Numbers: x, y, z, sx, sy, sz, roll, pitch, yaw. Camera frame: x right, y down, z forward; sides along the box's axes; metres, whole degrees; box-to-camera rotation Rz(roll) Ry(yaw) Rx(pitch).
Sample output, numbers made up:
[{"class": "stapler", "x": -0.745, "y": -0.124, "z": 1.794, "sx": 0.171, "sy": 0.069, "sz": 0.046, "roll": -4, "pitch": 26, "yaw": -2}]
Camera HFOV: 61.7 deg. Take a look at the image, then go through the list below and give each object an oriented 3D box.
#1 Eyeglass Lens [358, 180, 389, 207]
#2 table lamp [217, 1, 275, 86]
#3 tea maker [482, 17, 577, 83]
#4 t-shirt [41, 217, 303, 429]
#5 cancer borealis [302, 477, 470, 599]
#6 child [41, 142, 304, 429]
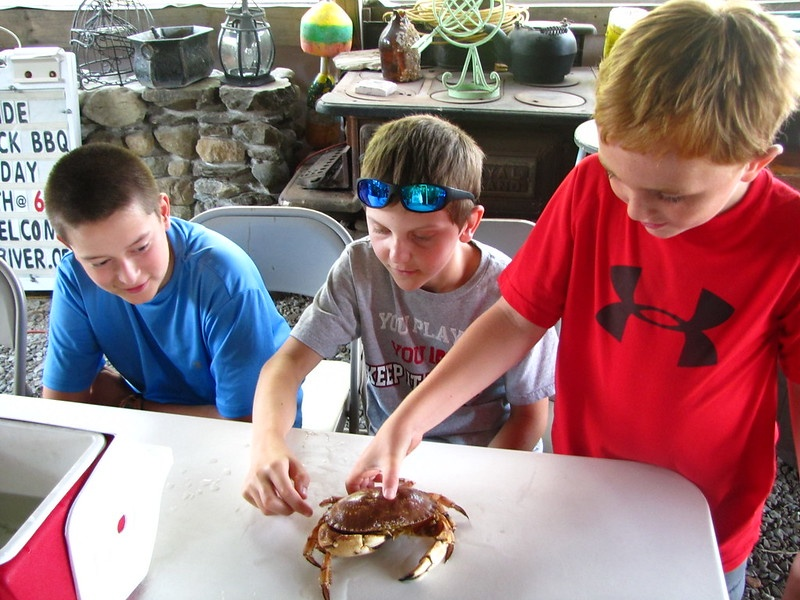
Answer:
[{"class": "Eyeglass Lens", "x": -0.057, "y": -0.241, "z": 1.531, "sx": 0.065, "sy": 0.031, "sz": 0.070, "roll": 20, "pitch": 17, "yaw": 28}, {"class": "table lamp", "x": -0.791, "y": -1.313, "z": 3.460, "sx": 0.274, "sy": 0.406, "sz": 0.181, "roll": -5, "pitch": 20, "yaw": -14}, {"class": "tea maker", "x": 0.631, "y": -1.117, "z": 3.040, "sx": 0.325, "sy": 0.273, "sz": 0.340, "roll": 15, "pitch": 34, "yaw": 27}, {"class": "t-shirt", "x": -0.576, "y": 0.060, "z": 1.701, "sx": 0.458, "sy": 0.365, "sz": 0.273, "roll": 5, "pitch": 30, "yaw": 12}, {"class": "cancer borealis", "x": -0.020, "y": 0.402, "z": 1.179, "sx": 0.298, "sy": 0.136, "sz": 0.180, "roll": -3, "pitch": 19, "yaw": -9}, {"class": "child", "x": -0.666, "y": -0.041, "z": 1.787, "sx": 0.610, "sy": 0.801, "sz": 0.513, "roll": 0, "pitch": 32, "yaw": -1}]
